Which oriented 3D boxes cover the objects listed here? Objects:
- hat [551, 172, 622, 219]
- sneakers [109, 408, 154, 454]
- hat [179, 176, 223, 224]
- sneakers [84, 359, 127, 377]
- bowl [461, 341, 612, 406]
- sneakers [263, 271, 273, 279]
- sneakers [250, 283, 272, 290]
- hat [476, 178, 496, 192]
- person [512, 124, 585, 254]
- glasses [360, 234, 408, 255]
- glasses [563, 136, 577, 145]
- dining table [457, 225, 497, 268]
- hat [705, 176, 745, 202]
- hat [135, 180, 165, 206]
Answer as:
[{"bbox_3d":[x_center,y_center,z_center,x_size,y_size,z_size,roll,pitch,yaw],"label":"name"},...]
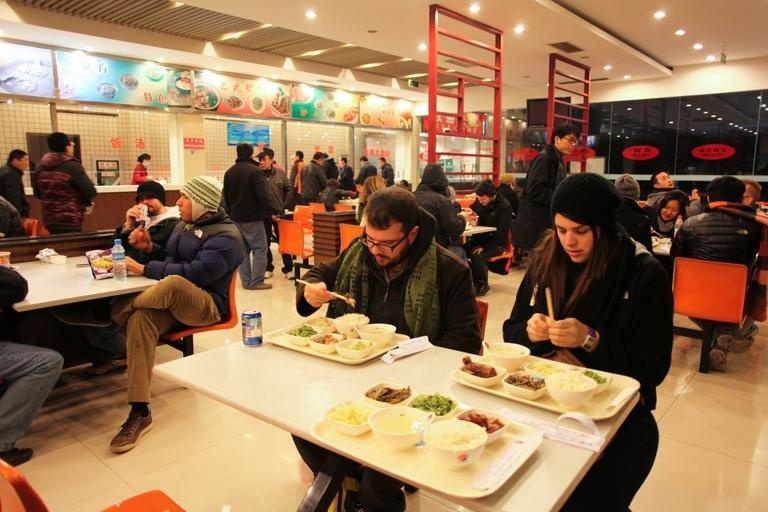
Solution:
[{"bbox_3d":[1.110,-0.305,2.794,0.315,0.190,0.282,3,6,-27],"label":"hat"},{"bbox_3d":[-1.859,1.289,3.827,0.147,0.166,0.405,12,15,5],"label":"sneakers"},{"bbox_3d":[-1.609,-0.528,4.513,0.438,0.421,0.320,-1,8,-22],"label":"hat"},{"bbox_3d":[-2.569,1.013,4.766,0.160,0.143,0.377,3,0,42],"label":"sneakers"},{"bbox_3d":[0.813,0.584,2.634,0.551,0.054,0.339,7,14,33],"label":"bowl"},{"bbox_3d":[-1.776,0.292,7.756,0.144,0.137,0.357,-1,-1,0],"label":"sneakers"},{"bbox_3d":[-1.757,0.425,7.224,0.288,0.107,0.097,-2,2,-10],"label":"sneakers"},{"bbox_3d":[1.434,-0.979,7.207,0.247,0.198,0.178,12,4,11],"label":"hat"},{"bbox_3d":[2.172,-0.809,6.666,0.863,1.764,0.803,10,29,22],"label":"person"},{"bbox_3d":[-0.002,-0.064,3.096,0.156,0.044,0.154,10,28,27],"label":"glasses"},{"bbox_3d":[2.275,-1.423,6.273,0.129,0.038,0.128,-2,6,-33],"label":"glasses"},{"bbox_3d":[1.182,-0.143,6.871,0.553,0.454,0.535,-9,13,-38],"label":"dining table"},{"bbox_3d":[3.338,-0.644,4.975,0.265,0.279,0.309,3,4,4],"label":"hat"},{"bbox_3d":[-2.233,-0.606,4.829,0.229,0.201,0.273,-6,-20,3],"label":"hat"}]
